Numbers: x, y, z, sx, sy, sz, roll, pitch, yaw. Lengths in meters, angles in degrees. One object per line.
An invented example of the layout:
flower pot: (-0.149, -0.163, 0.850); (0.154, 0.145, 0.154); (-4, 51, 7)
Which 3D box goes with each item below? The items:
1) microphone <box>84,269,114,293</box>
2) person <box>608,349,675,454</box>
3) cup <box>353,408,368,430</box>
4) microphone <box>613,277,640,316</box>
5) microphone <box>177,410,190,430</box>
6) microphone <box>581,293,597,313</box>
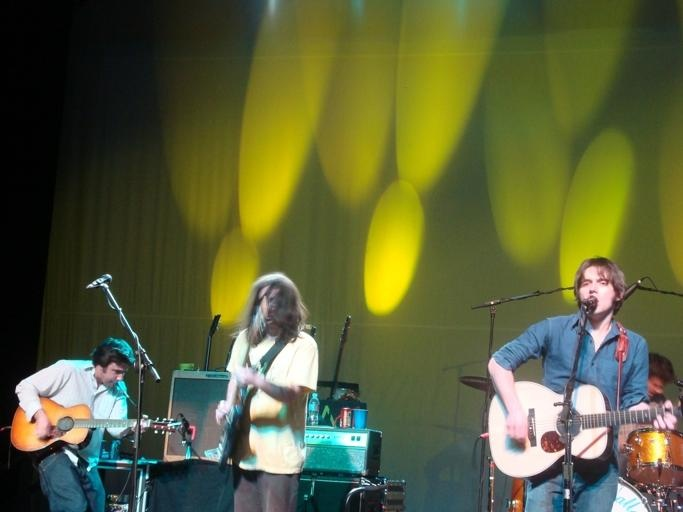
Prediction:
microphone: (-2.405, 0.250, 7.091); (0.236, 0.112, 0.162); (-16, 8, -21)
person: (2.773, 1.449, 6.605); (0.282, 1.099, 0.589); (10, 2, -27)
cup: (0.172, 1.437, 6.415); (0.131, 0.160, 0.147); (2, -14, -4)
microphone: (2.471, 0.362, 6.198); (0.098, 0.211, 0.687); (19, 22, 19)
microphone: (-1.320, 1.374, 6.023); (0.095, 0.160, 0.048); (13, 23, 43)
microphone: (1.702, 0.322, 4.921); (0.072, 0.120, 0.035); (-2, -15, 38)
